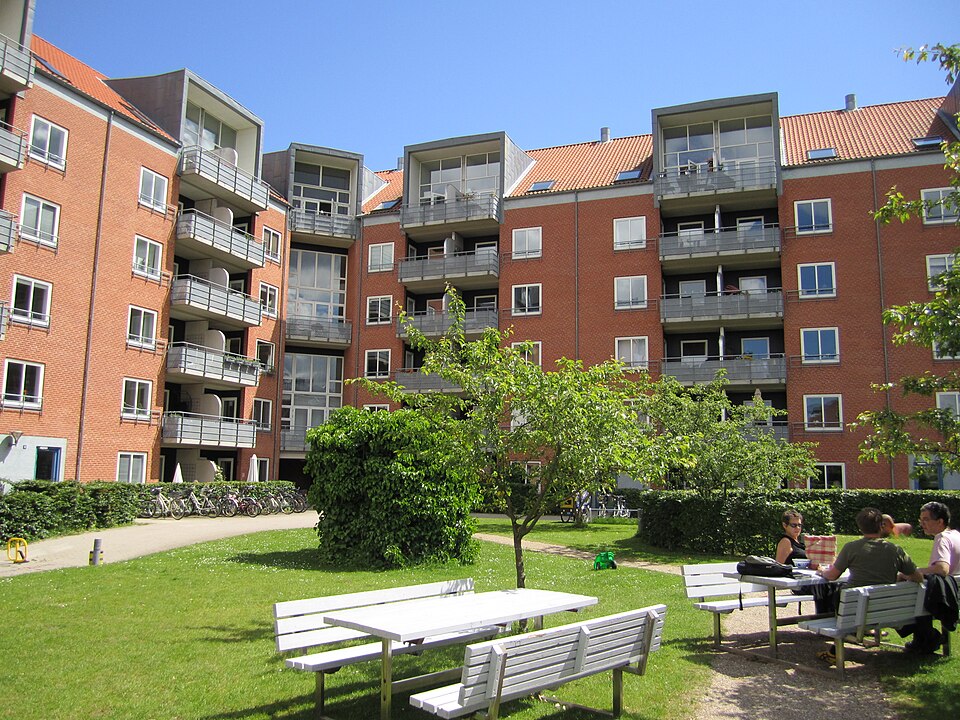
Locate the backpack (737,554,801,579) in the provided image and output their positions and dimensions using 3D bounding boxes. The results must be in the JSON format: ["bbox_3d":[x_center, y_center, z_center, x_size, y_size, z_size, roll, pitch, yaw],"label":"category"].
[{"bbox_3d":[4.608,3.340,13.215,0.554,0.233,0.440,-6,-12,42],"label":"backpack"}]

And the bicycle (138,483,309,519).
[{"bbox_3d":[-10.769,5.785,34.418,1.568,1.584,8.074,-8,-14,28],"label":"bicycle"}]
